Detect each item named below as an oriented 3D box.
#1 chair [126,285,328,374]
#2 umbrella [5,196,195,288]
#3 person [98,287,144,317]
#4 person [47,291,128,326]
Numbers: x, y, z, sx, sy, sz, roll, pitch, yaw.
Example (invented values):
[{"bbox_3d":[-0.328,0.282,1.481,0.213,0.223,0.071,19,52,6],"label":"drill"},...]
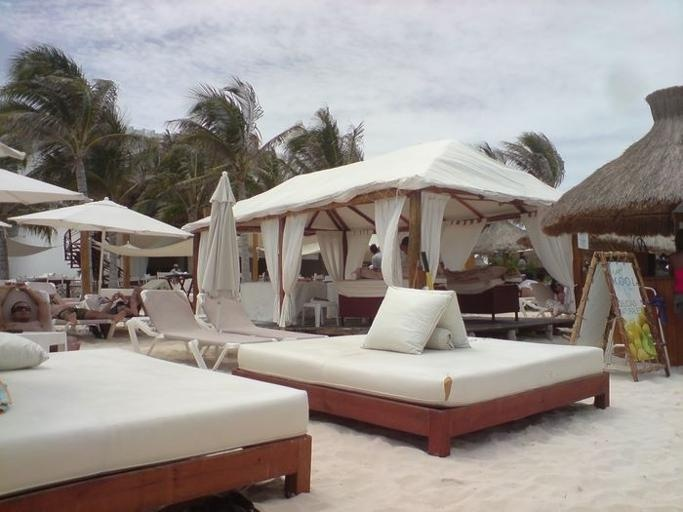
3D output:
[{"bbox_3d":[-1.637,0.847,6.404,1.252,0.779,1.804,4,-8,-44],"label":"chair"},{"bbox_3d":[-4.479,-0.500,10.035,2.017,1.125,2.021,12,8,17],"label":"umbrella"},{"bbox_3d":[-3.750,0.805,9.034,0.834,0.517,0.336,5,-1,4],"label":"person"},{"bbox_3d":[-4.077,0.932,8.684,0.879,0.379,0.889,1,-1,-18],"label":"person"}]
